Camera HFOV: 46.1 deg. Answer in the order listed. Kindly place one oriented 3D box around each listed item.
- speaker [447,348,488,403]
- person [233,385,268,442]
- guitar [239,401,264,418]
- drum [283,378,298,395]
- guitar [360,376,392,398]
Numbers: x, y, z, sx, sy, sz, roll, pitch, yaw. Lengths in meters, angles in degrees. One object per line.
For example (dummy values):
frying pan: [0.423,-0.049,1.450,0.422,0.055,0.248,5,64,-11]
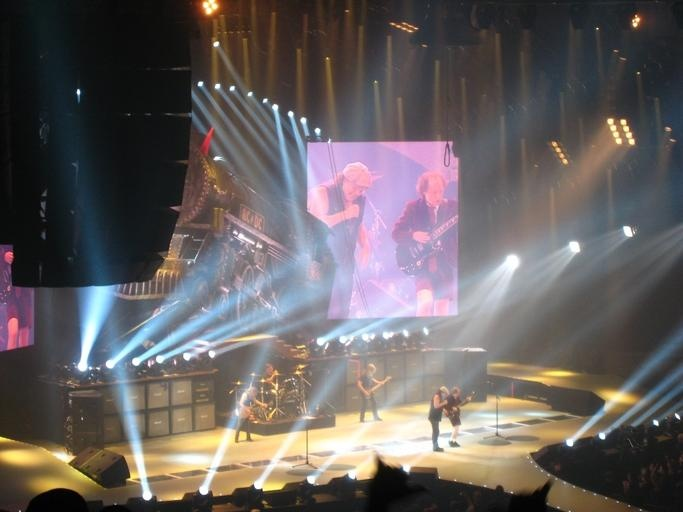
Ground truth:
speaker: [3.205,3.176,20.841,1.444,1.528,1.129,1,-15,-4]
person: [-1.766,3.009,15.657,0.652,0.942,0.394,6,4,-20]
guitar: [-1.780,2.986,15.698,0.321,0.202,0.461,0,-3,35]
drum: [-1.052,2.667,16.508,0.253,0.253,0.459,14,4,-4]
guitar: [0.769,2.956,18.204,0.714,0.297,0.095,-26,-15,-16]
